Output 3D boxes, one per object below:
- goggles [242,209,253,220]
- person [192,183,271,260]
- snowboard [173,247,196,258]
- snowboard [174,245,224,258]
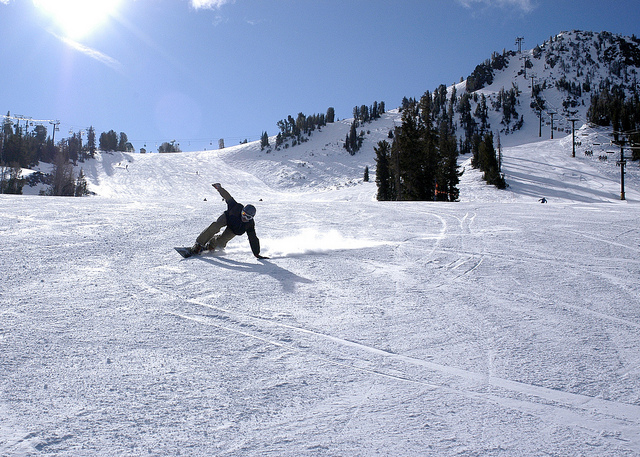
[{"bbox_3d":[-1.338,-0.274,10.634,0.161,0.086,0.130,29,-8,32],"label":"goggles"},{"bbox_3d":[-1.601,-0.180,10.725,1.173,1.252,0.974,3,8,20],"label":"person"},{"bbox_3d":[-2.403,0.402,10.390,0.251,0.112,0.478,-4,10,-29],"label":"snowboard"},{"bbox_3d":[-2.284,0.380,10.606,0.569,0.132,0.920,8,11,39],"label":"snowboard"}]
